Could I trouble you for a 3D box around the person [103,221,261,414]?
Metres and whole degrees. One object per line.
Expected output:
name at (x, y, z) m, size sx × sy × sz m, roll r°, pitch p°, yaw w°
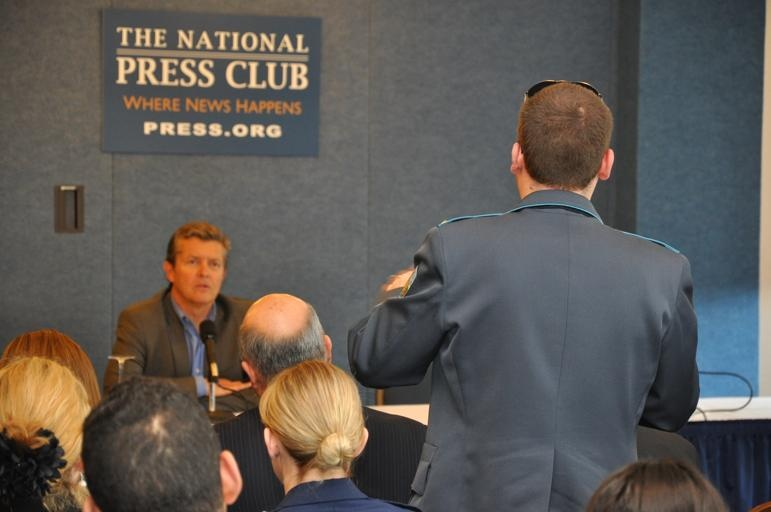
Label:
person at (-1.106, 0.317, 4.942) m, size 0.854 × 1.336 × 0.712 m, roll 3°, pitch -16°, yaw -16°
